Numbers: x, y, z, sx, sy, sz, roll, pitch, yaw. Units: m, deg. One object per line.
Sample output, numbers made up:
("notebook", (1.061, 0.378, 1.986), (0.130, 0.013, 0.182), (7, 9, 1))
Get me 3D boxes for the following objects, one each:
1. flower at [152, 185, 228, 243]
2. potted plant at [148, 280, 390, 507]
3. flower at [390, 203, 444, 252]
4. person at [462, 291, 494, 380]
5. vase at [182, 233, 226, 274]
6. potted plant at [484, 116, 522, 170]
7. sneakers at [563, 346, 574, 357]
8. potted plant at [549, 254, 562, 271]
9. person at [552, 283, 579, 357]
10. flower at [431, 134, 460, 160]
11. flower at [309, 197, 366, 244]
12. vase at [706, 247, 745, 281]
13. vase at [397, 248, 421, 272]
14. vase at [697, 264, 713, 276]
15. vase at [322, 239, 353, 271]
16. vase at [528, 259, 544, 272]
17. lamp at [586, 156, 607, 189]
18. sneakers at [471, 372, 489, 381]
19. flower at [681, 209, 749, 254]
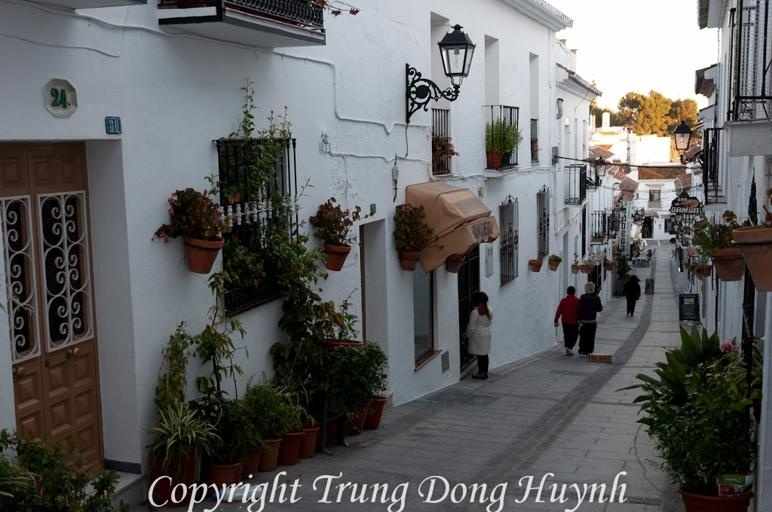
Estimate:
("flower", (-2.115, -0.528, 7.778), (0.628, 0.610, 0.560), (0, 5, -35))
("potted plant", (-1.410, 1.461, 8.352), (1.573, 1.041, 2.650), (1, 4, 24))
("flower", (0.576, -0.393, 11.971), (0.640, 0.961, 0.812), (-6, -6, 41))
("person", (1.849, 1.599, 14.321), (0.474, 1.690, 1.036), (2, 0, 7))
("vase", (-2.027, -0.011, 7.810), (0.482, 0.321, 0.511), (9, -2, -8))
("potted plant", (2.478, -2.425, 15.686), (0.734, 1.028, 0.649), (8, 4, 23))
("sneakers", (4.663, 2.417, 18.255), (0.182, 0.266, 0.582), (-8, -33, 12))
("potted plant", (4.768, 0.182, 20.233), (0.383, 0.434, 0.410), (2, -1, 35))
("person", (4.476, 1.505, 17.462), (0.666, 1.778, 0.476), (1, 15, 13))
("flower", (1.113, -2.057, 13.616), (0.246, 0.443, 0.785), (2, 1, 32))
("flower", (-0.685, -0.454, 10.071), (0.582, 0.611, 0.656), (7, -1, 19))
("vase", (4.593, 0.124, 9.675), (0.389, 0.400, 0.419), (-1, -5, -1))
("vase", (0.382, 0.057, 11.835), (0.306, 0.273, 0.329), (3, -5, -2))
("vase", (6.595, 0.280, 14.857), (0.269, 0.180, 0.290), (-1, -1, 2))
("vase", (-0.696, -0.021, 10.011), (0.348, 0.342, 0.373), (12, 4, 19))
("vase", (3.844, 0.236, 18.470), (0.323, 0.323, 0.420), (3, 1, 12))
("lamp", (8.299, -3.419, 28.245), (0.814, 1.412, 0.448), (1, 22, 13))
("sneakers", (1.911, 2.444, 14.642), (0.346, 0.169, 0.126), (8, 1, 15))
("flower", (5.415, -0.443, 11.792), (1.040, 0.944, 1.232), (-4, 1, 35))
